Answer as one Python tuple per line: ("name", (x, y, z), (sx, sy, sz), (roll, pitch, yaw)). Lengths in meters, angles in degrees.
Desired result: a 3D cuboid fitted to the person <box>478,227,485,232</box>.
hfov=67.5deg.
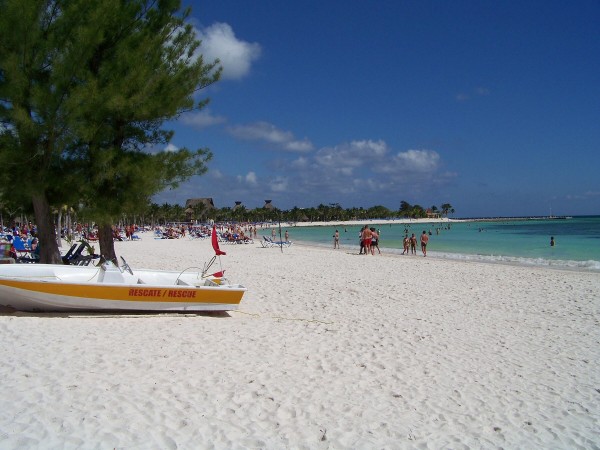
("person", (36.825, 0.837, 91.101), (0.678, 0.832, 1.409), (5, 15, 9))
